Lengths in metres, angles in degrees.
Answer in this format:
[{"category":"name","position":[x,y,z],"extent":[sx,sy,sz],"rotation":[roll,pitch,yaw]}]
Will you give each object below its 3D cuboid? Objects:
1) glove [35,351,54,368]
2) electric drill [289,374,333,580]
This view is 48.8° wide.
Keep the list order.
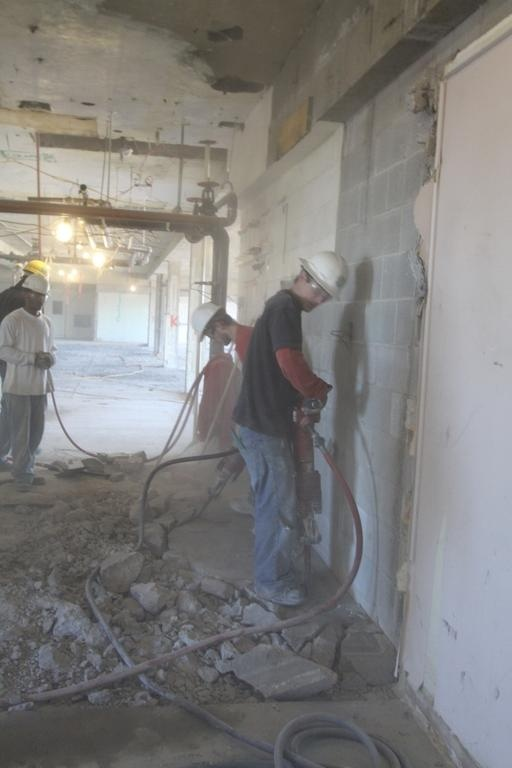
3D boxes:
[{"category":"glove","position":[-1.615,-0.186,4.330],"extent":[0.104,0.103,0.102],"rotation":[-4,10,0]},{"category":"electric drill","position":[0.259,0.406,2.473],"extent":[0.096,0.832,0.247],"rotation":[0,1,-27]}]
